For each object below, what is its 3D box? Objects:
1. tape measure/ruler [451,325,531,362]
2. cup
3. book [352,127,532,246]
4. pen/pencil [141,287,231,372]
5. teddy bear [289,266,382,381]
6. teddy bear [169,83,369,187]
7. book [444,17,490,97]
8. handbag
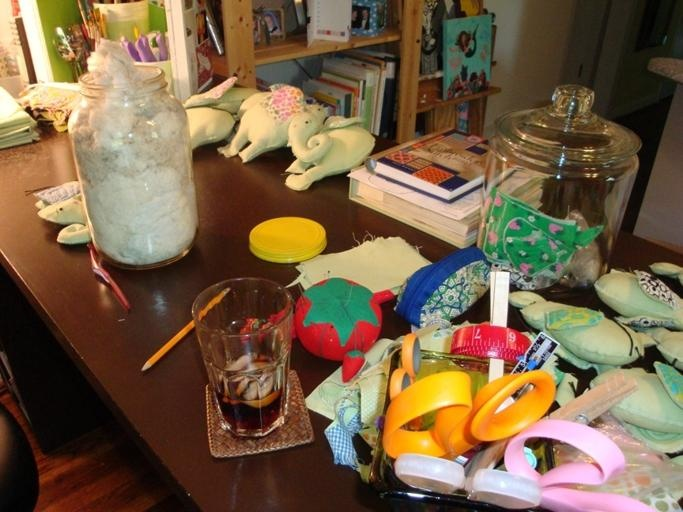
[{"bbox_3d":[0.184,0.110,0.625,0.050,0.018,0.070,-9,26,-31],"label":"tape measure/ruler"},{"bbox_3d":[-0.120,0.123,0.675,0.124,0.205,0.129,6,32,-4],"label":"cup"},{"bbox_3d":[0.233,-0.241,1.187,0.455,0.188,0.370,25,38,34],"label":"book"},{"bbox_3d":[-0.221,0.109,0.718,0.156,0.012,0.017,-44,2,-11],"label":"pen/pencil"},{"bbox_3d":[-0.005,0.093,0.751,0.127,0.082,0.102,3,32,5],"label":"teddy bear"},{"bbox_3d":[-0.120,-0.312,1.198,0.364,0.135,0.273,32,56,32],"label":"teddy bear"},{"bbox_3d":[0.708,-1.104,2.804,0.099,0.402,0.447,25,39,35],"label":"book"},{"bbox_3d":[0.171,0.033,0.792,0.162,0.117,0.088,-29,54,-15],"label":"handbag"}]
